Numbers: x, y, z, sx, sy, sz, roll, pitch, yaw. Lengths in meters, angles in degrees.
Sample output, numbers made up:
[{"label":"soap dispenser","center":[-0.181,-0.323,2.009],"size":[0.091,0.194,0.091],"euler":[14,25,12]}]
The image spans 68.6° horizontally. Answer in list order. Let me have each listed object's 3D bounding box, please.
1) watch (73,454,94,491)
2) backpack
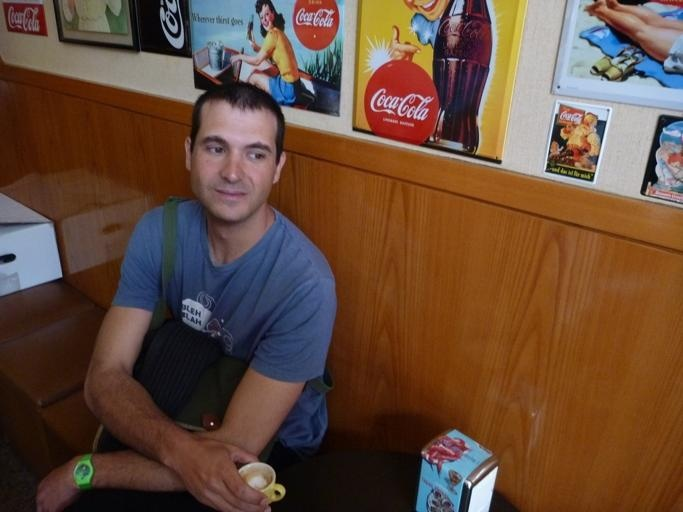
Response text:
[{"label":"watch","center":[-0.693,0.589,1.349],"size":[0.051,0.085,0.084],"euler":[9,-20,-11]},{"label":"backpack","center":[-0.446,0.217,1.466],"size":[0.189,0.695,0.524],"euler":[4,-5,22]}]
